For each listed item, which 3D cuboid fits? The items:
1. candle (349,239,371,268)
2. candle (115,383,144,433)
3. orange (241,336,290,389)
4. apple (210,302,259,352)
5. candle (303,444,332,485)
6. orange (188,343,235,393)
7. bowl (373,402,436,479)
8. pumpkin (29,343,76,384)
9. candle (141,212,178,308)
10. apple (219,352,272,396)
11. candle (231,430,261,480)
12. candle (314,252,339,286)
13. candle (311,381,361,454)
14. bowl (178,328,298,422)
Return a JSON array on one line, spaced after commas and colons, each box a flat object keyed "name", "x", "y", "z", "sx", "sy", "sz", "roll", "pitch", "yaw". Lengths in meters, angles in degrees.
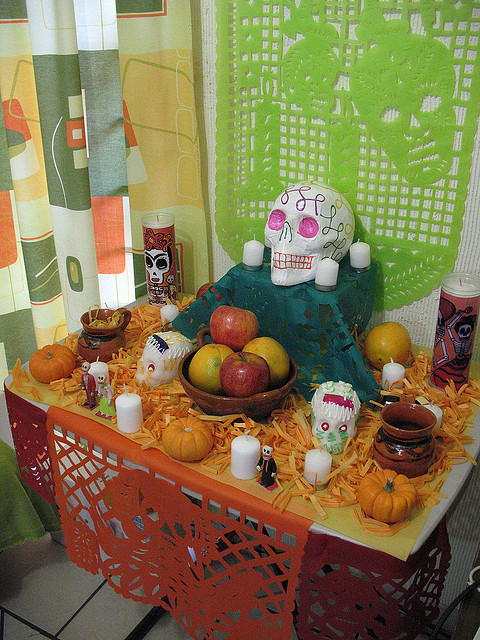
[{"name": "candle", "x": 0.207, "y": -0.120, "z": 0.877, "sx": 0.039, "sy": 0.046, "sz": 0.041, "roll": -2, "pitch": 25, "yaw": 8}, {"name": "candle", "x": -0.163, "y": 0.129, "z": 0.726, "sx": 0.038, "sy": 0.066, "sz": 0.039, "roll": 5, "pitch": 25, "yaw": 7}, {"name": "orange", "x": 0.046, "y": 0.053, "z": 0.705, "sx": 0.068, "sy": 0.085, "sz": 0.070, "roll": 1, "pitch": 14, "yaw": 17}, {"name": "apple", "x": -0.011, "y": 0.011, "z": 0.790, "sx": 0.082, "sy": 0.078, "sz": 0.080, "roll": -1, "pitch": 11, "yaw": -41}, {"name": "candle", "x": 0.096, "y": 0.177, "z": 0.611, "sx": 0.035, "sy": 0.061, "sz": 0.036, "roll": 5, "pitch": 32, "yaw": 6}, {"name": "orange", "x": -0.047, "y": 0.070, "z": 0.730, "sx": 0.058, "sy": 0.072, "sz": 0.060, "roll": 19, "pitch": 23, "yaw": 16}, {"name": "bowl", "x": 0.208, "y": 0.144, "z": 0.657, "sx": 0.068, "sy": 0.093, "sz": 0.095, "roll": 7, "pitch": 37, "yaw": 17}, {"name": "pumpkin", "x": -0.325, "y": 0.073, "z": 0.859, "sx": 0.074, "sy": 0.046, "sz": 0.077, "roll": 11, "pitch": 29, "yaw": 24}, {"name": "candle", "x": -0.169, "y": -0.120, "z": 1.054, "sx": 0.071, "sy": 0.187, "sz": 0.049, "roll": -7, "pitch": 26, "yaw": -10}, {"name": "apple", "x": 0.013, "y": 0.061, "z": 0.700, "sx": 0.056, "sy": 0.067, "sz": 0.059, "roll": 10, "pitch": 23, "yaw": 24}, {"name": "candle", "x": 0.007, "y": 0.175, "z": 0.631, "sx": 0.031, "sy": 0.054, "sz": 0.031, "roll": -11, "pitch": 42, "yaw": -14}, {"name": "candle", "x": 0.142, "y": -0.088, "z": 0.818, "sx": 0.038, "sy": 0.067, "sz": 0.041, "roll": 9, "pitch": 27, "yaw": 10}, {"name": "candle", "x": 0.134, "y": 0.132, "z": 0.705, "sx": 0.066, "sy": 0.092, "sz": 0.093, "roll": 8, "pitch": 17, "yaw": 16}, {"name": "bowl", "x": 0.000, "y": 0.055, "z": 0.678, "sx": 0.122, "sy": 0.063, "sz": 0.136, "roll": -15, "pitch": 39, "yaw": -21}]
